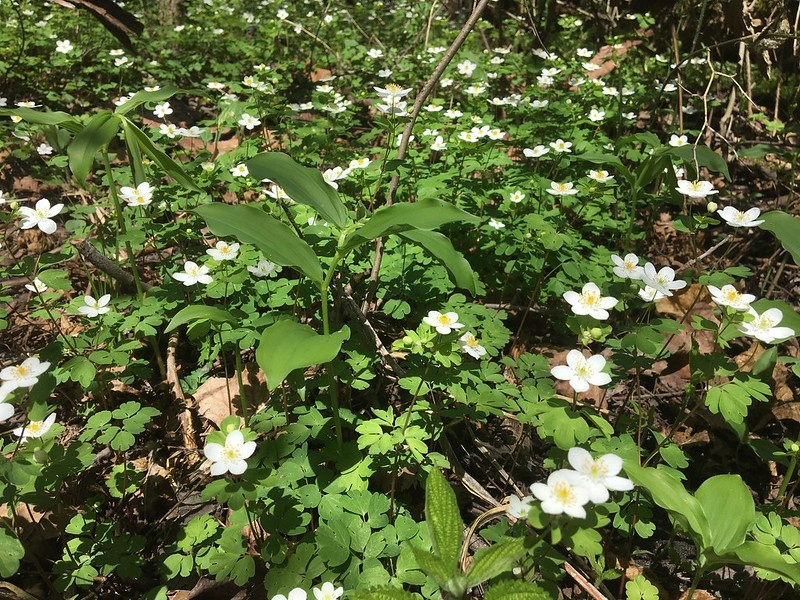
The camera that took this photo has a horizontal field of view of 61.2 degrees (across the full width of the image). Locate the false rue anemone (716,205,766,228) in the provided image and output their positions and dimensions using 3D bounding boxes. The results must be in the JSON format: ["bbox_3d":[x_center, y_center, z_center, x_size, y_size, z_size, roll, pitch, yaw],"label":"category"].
[{"bbox_3d":[2.261,-0.545,4.477,0.288,0.118,0.256,16,18,39],"label":"false rue anemone"}]

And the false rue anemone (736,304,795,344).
[{"bbox_3d":[2.210,0.165,4.072,0.303,0.200,0.164,10,29,15],"label":"false rue anemone"}]

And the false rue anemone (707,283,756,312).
[{"bbox_3d":[2.041,-0.020,4.169,0.251,0.137,0.250,18,32,28],"label":"false rue anemone"}]
